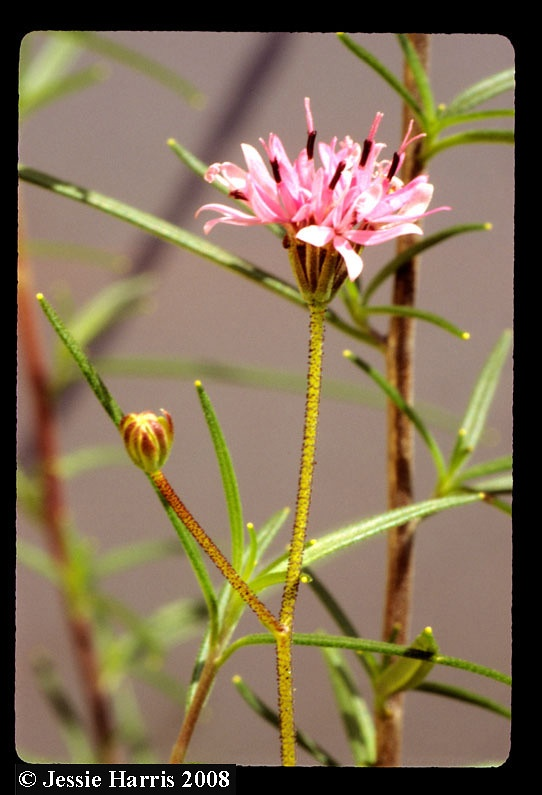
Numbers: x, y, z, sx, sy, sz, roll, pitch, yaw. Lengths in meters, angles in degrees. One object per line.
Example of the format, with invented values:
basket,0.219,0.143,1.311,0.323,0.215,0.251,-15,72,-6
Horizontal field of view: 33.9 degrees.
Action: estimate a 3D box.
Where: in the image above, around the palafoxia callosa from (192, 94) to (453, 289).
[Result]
palafoxia callosa,0.032,-0.103,0.511,0.119,0.096,0.117,5,12,33
